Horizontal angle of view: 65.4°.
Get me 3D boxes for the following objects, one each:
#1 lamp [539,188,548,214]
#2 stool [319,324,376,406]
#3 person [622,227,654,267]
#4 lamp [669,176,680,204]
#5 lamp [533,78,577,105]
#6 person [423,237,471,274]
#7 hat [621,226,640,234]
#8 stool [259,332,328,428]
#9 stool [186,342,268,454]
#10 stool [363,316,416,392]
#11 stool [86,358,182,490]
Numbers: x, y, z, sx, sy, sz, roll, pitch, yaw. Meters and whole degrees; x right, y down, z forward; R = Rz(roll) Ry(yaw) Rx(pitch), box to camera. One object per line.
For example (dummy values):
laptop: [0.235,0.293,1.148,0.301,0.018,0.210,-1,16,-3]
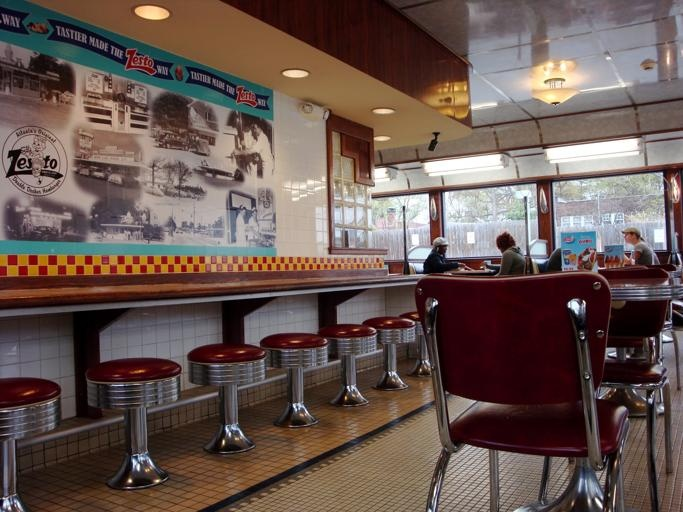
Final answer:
lamp: [4.186,-1.144,10.966,0.246,0.402,0.106,-2,1,17]
stool: [0.076,1.006,5.036,0.784,0.862,0.714,-1,-6,0]
person: [4.455,-0.169,7.975,0.337,0.542,1.533,-1,1,27]
lamp: [6.240,-1.236,9.921,0.174,0.519,0.060,-2,1,22]
lamp: [3.107,-2.392,7.772,0.568,0.239,0.650,-1,1,17]
person: [1.749,0.047,8.991,0.829,0.589,0.552,7,11,14]
hat: [4.945,-0.439,9.067,0.315,0.132,0.202,15,5,22]
stool: [-0.359,1.004,4.316,0.425,0.659,0.444,-1,1,33]
stool: [-0.795,1.015,3.776,0.465,0.716,0.340,-2,1,-40]
stool: [0.510,0.994,5.483,0.801,0.877,0.723,0,-6,2]
stool: [-1.271,1.037,3.281,0.535,0.798,0.302,-2,1,-23]
